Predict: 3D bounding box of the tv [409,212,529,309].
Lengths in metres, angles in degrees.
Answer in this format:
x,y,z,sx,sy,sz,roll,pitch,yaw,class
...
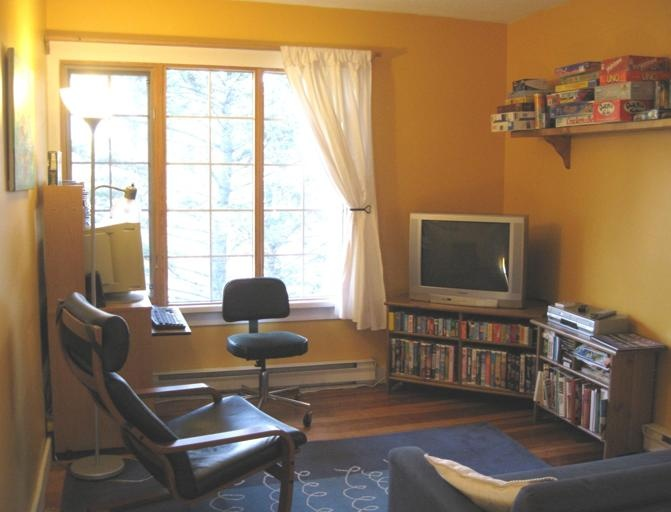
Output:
x,y,z,sx,sy,sz,roll,pitch,yaw,class
1.085,0.041,5.118,1.221,1.062,0.635,1,3,18,tv

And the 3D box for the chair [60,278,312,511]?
x,y,z,sx,sy,sz,roll,pitch,yaw,class
-0.862,0.721,3.728,1.412,1.634,1.041,-5,10,-33,chair

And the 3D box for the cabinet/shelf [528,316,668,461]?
x,y,z,sx,sy,sz,roll,pitch,yaw,class
1.864,0.716,4.444,0.699,1.015,1.064,-2,5,-14,cabinet/shelf

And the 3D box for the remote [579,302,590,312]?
x,y,z,sx,sy,sz,roll,pitch,yaw,class
1.737,0.364,4.290,0.051,0.049,0.052,0,-1,14,remote
